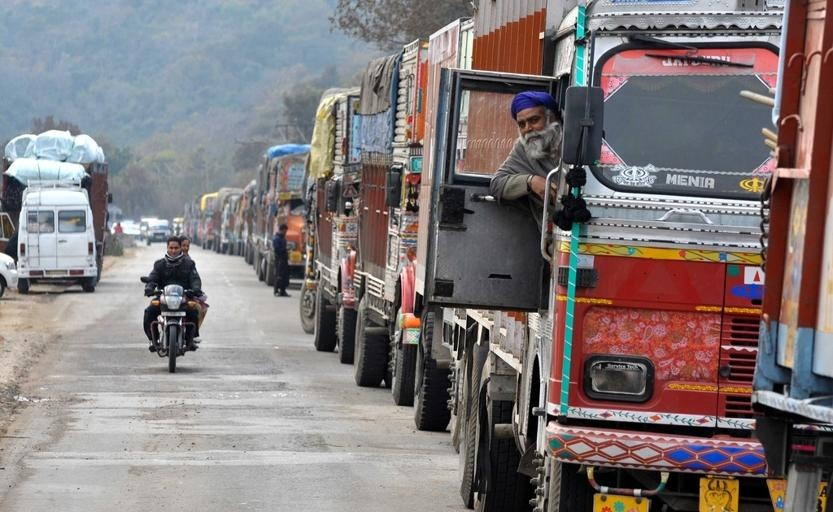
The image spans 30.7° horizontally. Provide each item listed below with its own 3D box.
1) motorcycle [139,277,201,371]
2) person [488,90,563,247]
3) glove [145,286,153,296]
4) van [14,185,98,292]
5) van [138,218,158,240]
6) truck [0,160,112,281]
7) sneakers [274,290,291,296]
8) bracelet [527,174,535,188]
[{"bbox_3d":[-3.588,1.015,22.406,0.822,0.877,1.468,0,-1,-6],"label":"motorcycle"},{"bbox_3d":[0.937,-0.880,13.228,0.837,1.054,0.512,-1,4,16],"label":"person"},{"bbox_3d":[-3.920,0.537,22.429,0.142,0.139,0.324,0,4,-10],"label":"glove"},{"bbox_3d":[-8.974,-0.544,38.129,1.748,1.736,2.980,0,4,-12],"label":"van"},{"bbox_3d":[-17.849,-1.882,102.235,1.641,1.288,2.390,0,-2,-12],"label":"van"},{"bbox_3d":[-9.199,-1.019,38.865,2.422,2.289,4.338,0,5,-13],"label":"truck"},{"bbox_3d":[-3.464,0.982,39.262,0.429,0.248,0.137,-1,15,-1],"label":"sneakers"},{"bbox_3d":[0.969,-0.653,12.992,0.030,0.076,0.090,18,-11,-37],"label":"bracelet"}]
